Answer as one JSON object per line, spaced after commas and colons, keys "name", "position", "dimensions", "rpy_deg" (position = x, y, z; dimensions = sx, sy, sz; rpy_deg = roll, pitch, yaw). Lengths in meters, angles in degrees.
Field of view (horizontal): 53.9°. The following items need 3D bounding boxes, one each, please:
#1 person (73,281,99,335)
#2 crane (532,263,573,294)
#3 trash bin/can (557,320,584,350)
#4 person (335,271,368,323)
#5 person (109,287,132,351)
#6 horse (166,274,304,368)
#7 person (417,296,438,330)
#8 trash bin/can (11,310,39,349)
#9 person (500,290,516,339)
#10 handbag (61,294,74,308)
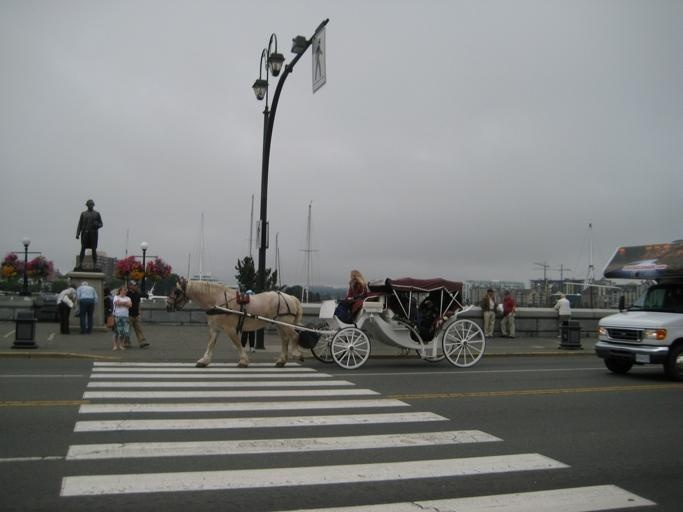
{"name": "person", "position": [-9.322, 1.913, 24.536], "dimensions": [0.633, 1.893, 1.198], "rpy_deg": [1, 1, -25]}
{"name": "crane", "position": [15.686, 1.969, 50.687], "dimensions": [2.087, 2.450, 1.724], "rpy_deg": [-1, -7, 16]}
{"name": "trash bin/can", "position": [8.078, 2.822, 24.001], "dimensions": [0.905, 1.409, 0.924], "rpy_deg": [1, -4, -4]}
{"name": "person", "position": [0.225, 0.871, 17.767], "dimensions": [0.907, 0.840, 1.687], "rpy_deg": [-5, -42, -3]}
{"name": "person", "position": [-6.641, 1.899, 20.367], "dimensions": [0.489, 1.923, 1.050], "rpy_deg": [1, 1, -18]}
{"name": "horse", "position": [-2.668, 1.769, 17.482], "dimensions": [3.257, 2.298, 1.352], "rpy_deg": [1, 1, -11]}
{"name": "person", "position": [2.322, 1.524, 18.090], "dimensions": [0.266, 0.824, 0.545], "rpy_deg": [7, 1, -40]}
{"name": "trash bin/can", "position": [-9.070, 2.089, 19.282], "dimensions": [0.792, 1.038, 0.852], "rpy_deg": [3, 0, -12]}
{"name": "person", "position": [7.006, 2.438, 28.270], "dimensions": [0.510, 1.997, 1.190], "rpy_deg": [2, 1, 12]}
{"name": "handbag", "position": [-9.884, 1.568, 24.357], "dimensions": [0.096, 0.468, 0.447], "rpy_deg": [-12, 27, 22]}
